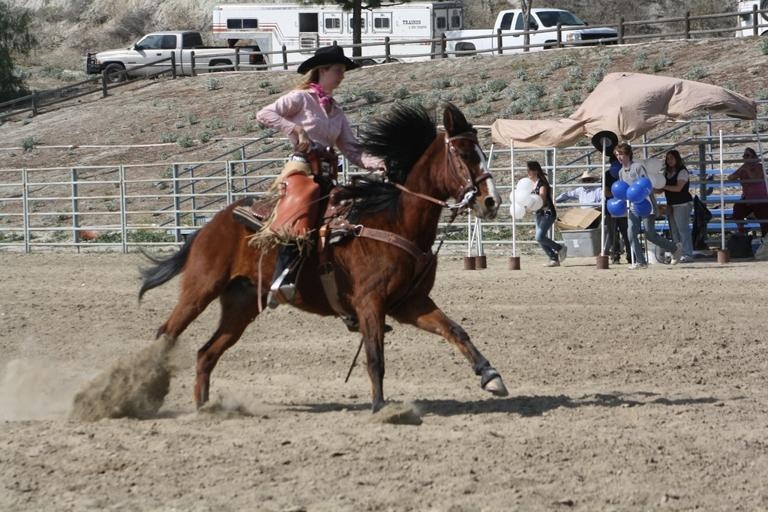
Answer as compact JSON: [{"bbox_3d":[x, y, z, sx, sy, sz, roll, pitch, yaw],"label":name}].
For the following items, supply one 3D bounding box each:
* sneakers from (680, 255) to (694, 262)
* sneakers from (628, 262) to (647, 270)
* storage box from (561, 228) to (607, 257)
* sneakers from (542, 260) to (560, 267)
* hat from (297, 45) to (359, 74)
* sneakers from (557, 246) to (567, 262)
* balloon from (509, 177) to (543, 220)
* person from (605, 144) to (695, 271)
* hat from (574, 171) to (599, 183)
[{"bbox_3d":[7.218,0.048,31.400,0.349,0.144,0.118,1,3,8],"label":"sneakers"},{"bbox_3d":[5.953,0.226,30.774,0.444,0.183,0.146,2,1,2],"label":"sneakers"},{"bbox_3d":[4.959,-0.352,32.440,0.839,0.556,0.664,-3,1,20],"label":"storage box"},{"bbox_3d":[4.048,0.162,31.587,0.370,0.155,0.135,4,5,9],"label":"sneakers"},{"bbox_3d":[-1.056,-3.514,23.645,0.711,0.268,0.589,-18,-5,21],"label":"hat"},{"bbox_3d":[4.281,-0.076,31.411,0.193,0.425,0.154,-4,26,-4],"label":"sneakers"},{"bbox_3d":[3.401,-1.325,31.002,0.869,0.864,0.386,23,5,17],"label":"balloon"},{"bbox_3d":[6.145,-1.215,30.764,1.485,2.927,0.979,-7,10,-33],"label":"person"},{"bbox_3d":[5.449,-2.132,35.122,0.682,0.195,0.680,-3,-5,7],"label":"hat"}]
